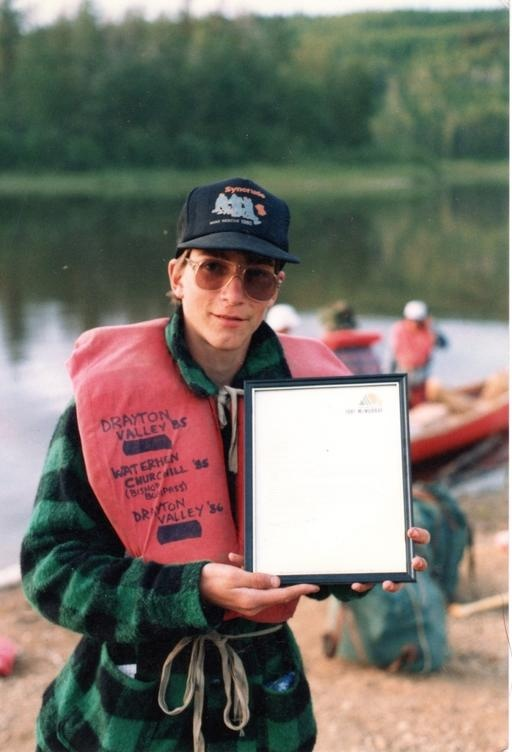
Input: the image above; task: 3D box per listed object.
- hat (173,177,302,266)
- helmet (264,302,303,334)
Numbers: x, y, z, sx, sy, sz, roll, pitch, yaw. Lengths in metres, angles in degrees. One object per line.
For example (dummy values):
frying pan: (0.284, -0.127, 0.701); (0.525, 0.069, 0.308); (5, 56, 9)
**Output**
hat: (-0.037, -0.365, 2.152); (0.234, 0.120, 0.258); (6, 3, -11)
helmet: (0.122, -0.249, 4.011); (0.195, 0.113, 0.242); (3, -3, -5)
